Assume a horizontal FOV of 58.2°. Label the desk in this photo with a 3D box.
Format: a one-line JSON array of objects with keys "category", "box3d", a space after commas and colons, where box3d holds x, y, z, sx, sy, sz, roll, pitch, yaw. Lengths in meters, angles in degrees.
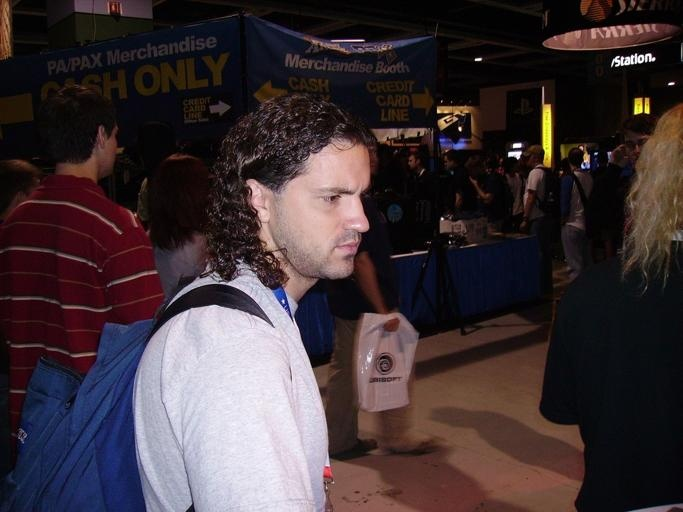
[{"category": "desk", "box3d": [1.136, 0.320, 6.752, 3.133, 0.867, 0.629, -8, 6, -31]}]
